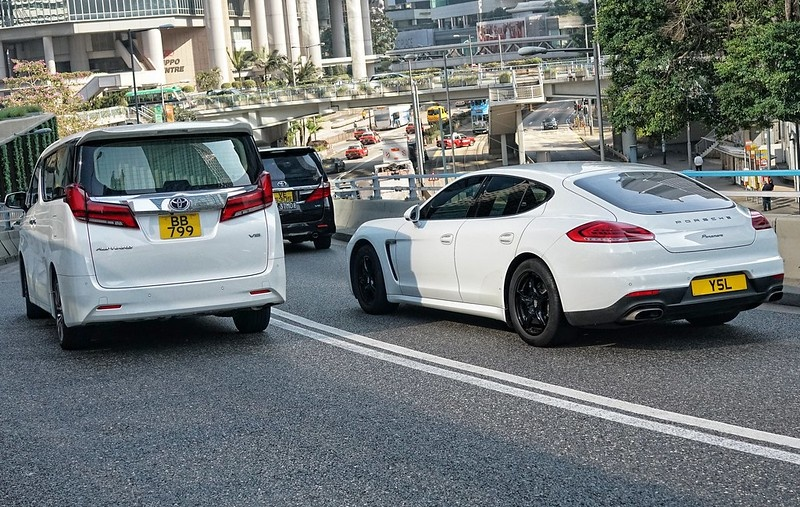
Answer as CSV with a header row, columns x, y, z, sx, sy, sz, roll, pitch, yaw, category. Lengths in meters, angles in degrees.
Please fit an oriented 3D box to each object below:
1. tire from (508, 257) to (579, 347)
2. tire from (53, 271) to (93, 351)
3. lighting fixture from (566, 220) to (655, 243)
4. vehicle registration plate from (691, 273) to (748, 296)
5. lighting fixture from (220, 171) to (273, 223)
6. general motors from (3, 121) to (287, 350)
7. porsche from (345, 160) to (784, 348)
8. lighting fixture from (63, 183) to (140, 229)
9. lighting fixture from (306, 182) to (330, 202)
x,y,z,sx,sy,sz,roll,pitch,yaw,category
1.673,0.560,6.413,0.356,1.038,1.041,-4,3,-18,tire
-4.120,0.683,6.872,0.279,0.938,0.933,-1,-10,-31,tire
2.211,-0.214,5.771,0.561,0.156,0.322,3,1,4,lighting fixture
3.420,0.328,5.853,0.767,0.194,0.022,-5,7,-18,vehicle registration plate
-1.967,-0.743,7.024,0.723,0.303,0.445,-14,10,-2,lighting fixture
-3.465,-0.222,7.145,3.661,2.923,1.416,-2,6,11,general motors
1.567,0.091,7.380,2.479,1.547,4.843,-2,6,-35,porsche
-3.680,-0.611,6.669,0.522,0.268,0.702,-5,-19,39,lighting fixture
-2.384,-1.735,15.544,0.651,0.304,0.395,-1,13,32,lighting fixture
